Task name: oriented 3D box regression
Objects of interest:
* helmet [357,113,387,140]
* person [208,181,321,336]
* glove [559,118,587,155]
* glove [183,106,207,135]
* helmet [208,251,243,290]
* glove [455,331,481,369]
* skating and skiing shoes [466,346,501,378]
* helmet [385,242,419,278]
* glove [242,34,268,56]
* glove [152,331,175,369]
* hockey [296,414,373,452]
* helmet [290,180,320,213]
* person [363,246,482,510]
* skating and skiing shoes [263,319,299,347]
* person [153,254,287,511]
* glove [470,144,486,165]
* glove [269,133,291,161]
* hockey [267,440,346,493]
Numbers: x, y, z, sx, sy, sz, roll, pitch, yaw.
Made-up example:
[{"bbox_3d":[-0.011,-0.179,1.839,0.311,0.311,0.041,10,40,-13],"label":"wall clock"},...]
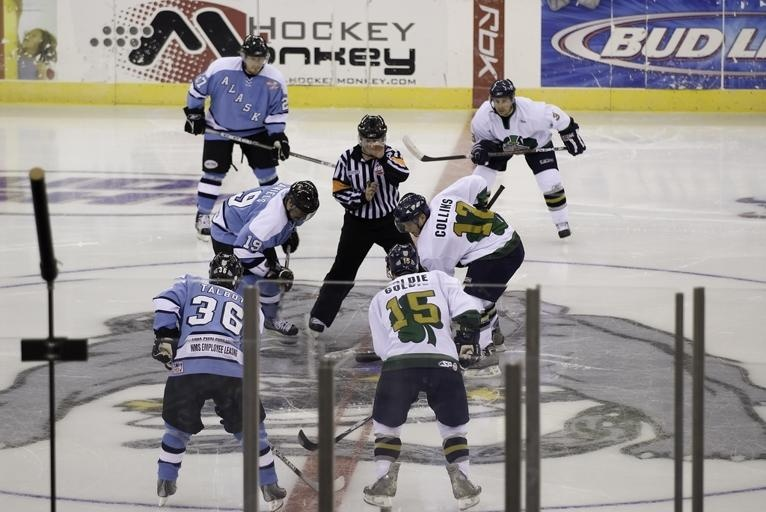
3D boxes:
[{"bbox_3d":[-0.075,-0.892,8.227,0.195,0.183,0.209,1,-4,-3],"label":"helmet"},{"bbox_3d":[-0.738,0.026,7.358,0.636,0.863,0.479,13,50,0],"label":"person"},{"bbox_3d":[1.502,-0.962,9.622,0.202,0.307,0.102,-34,18,4],"label":"glove"},{"bbox_3d":[-1.442,-1.046,9.169,0.195,0.186,0.082,-1,-5,9],"label":"glove"},{"bbox_3d":[-0.988,0.078,7.130,0.241,0.238,0.276,13,8,-8],"label":"helmet"},{"bbox_3d":[0.455,0.510,6.431,0.139,0.190,0.089,-2,-13,18],"label":"glove"},{"bbox_3d":[0.517,0.573,6.250,0.151,0.177,0.309,1,11,-5],"label":"skating and skiing shoes"},{"bbox_3d":[0.107,0.025,7.150,0.189,0.202,0.221,0,4,-4],"label":"helmet"},{"bbox_3d":[-0.975,-1.595,9.043,0.185,0.149,0.241,2,11,-2],"label":"glove"},{"bbox_3d":[-1.181,0.512,6.394,0.114,0.163,0.094,4,12,7],"label":"glove"},{"bbox_3d":[-0.269,0.997,6.495,0.465,0.097,0.426,-7,-6,-17],"label":"hockey"},{"bbox_3d":[-0.523,-0.373,7.732,0.186,0.210,0.156,1,12,-4],"label":"helmet"},{"bbox_3d":[0.201,0.716,6.439,0.606,1.174,0.654,2,12,-1],"label":"person"},{"bbox_3d":[-0.546,0.410,6.488,0.251,0.094,0.084,18,32,31],"label":"skating and skiing shoes"},{"bbox_3d":[-0.931,0.706,6.543,0.673,1.181,1.064,-1,12,-15],"label":"person"},{"bbox_3d":[0.748,-0.799,9.356,0.129,0.166,0.166,3,12,2],"label":"glove"},{"bbox_3d":[-0.796,-0.842,9.240,0.177,0.189,0.090,5,-20,-11],"label":"glove"},{"bbox_3d":[-0.396,1.118,6.270,0.409,0.098,0.111,35,45,11],"label":"hockey"}]
